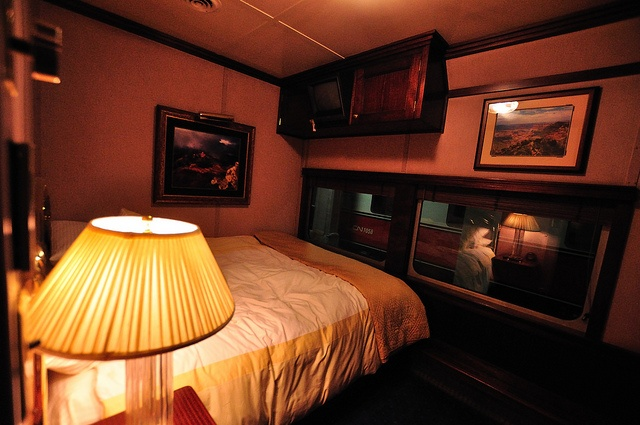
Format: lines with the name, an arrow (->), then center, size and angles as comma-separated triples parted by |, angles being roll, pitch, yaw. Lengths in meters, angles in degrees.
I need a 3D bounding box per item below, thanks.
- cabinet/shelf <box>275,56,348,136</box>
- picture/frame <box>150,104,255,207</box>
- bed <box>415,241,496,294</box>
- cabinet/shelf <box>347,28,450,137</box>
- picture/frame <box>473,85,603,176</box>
cabinet/shelf -> 0.123, -1.347, 5.332 | 1.152, 0.699, 0.637 | 5, 9, 40
picture/frame -> -1.452, -0.708, 5.060 | 1.400, 1.102, 0.159 | -2, 13, -37
bed -> 1.598, 0.567, 4.394 | 0.442, 0.466, 0.145 | 17, 19, 39
cabinet/shelf -> 0.599, -1.465, 4.486 | 0.942, 0.790, 0.553 | -14, 43, -14
picture/frame -> 2.103, -0.779, 3.990 | 0.915, 0.750, 0.071 | 7, 9, 36
